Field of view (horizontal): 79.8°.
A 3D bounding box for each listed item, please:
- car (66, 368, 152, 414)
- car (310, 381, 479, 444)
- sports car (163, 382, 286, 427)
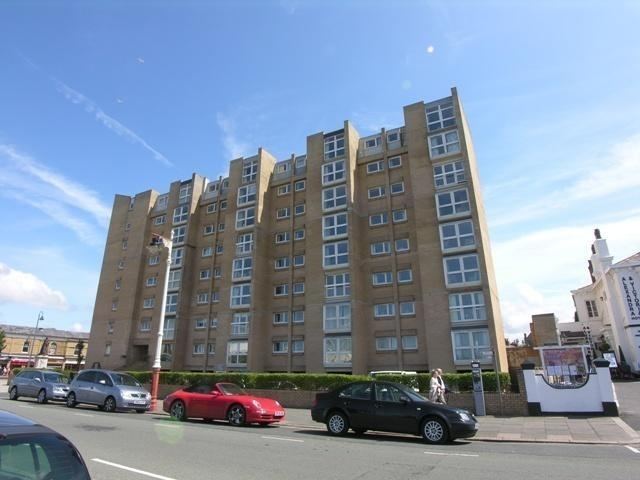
[{"bbox_3d":[-10.722,7.641,19.583,4.283,1.892,1.296,-5,-16,24],"label":"car"},{"bbox_3d":[2.629,5.993,13.541,5.525,1.622,2.265,-10,-30,22],"label":"car"},{"bbox_3d":[-4.091,6.782,15.910,4.704,1.567,1.025,-5,-16,23],"label":"sports car"}]
